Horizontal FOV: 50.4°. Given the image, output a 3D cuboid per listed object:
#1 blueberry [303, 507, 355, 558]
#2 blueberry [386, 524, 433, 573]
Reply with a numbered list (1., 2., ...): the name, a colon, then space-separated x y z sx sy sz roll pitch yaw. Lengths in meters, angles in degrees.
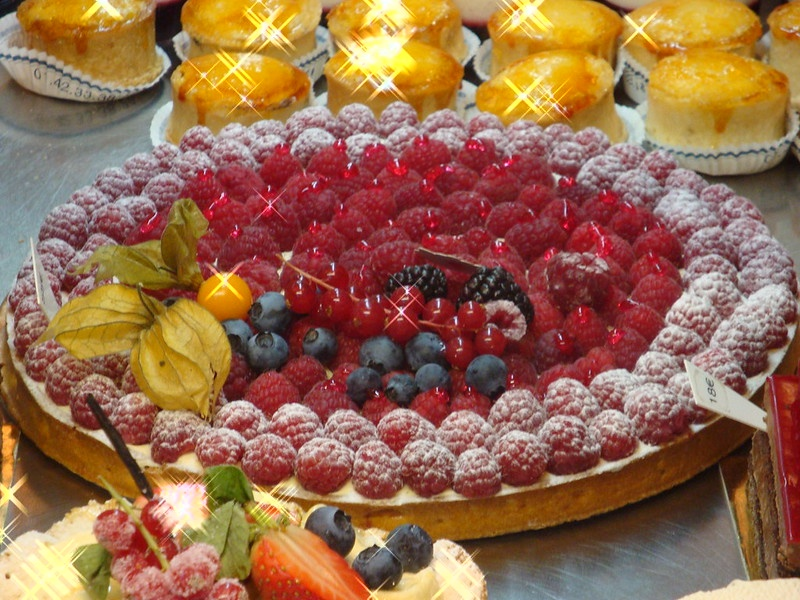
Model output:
1. blueberry: -0.161 0.547 2.115 0.115 0.116 0.124 36 79 1
2. blueberry: 0.022 0.620 2.165 0.113 0.097 0.099 -14 62 -30
